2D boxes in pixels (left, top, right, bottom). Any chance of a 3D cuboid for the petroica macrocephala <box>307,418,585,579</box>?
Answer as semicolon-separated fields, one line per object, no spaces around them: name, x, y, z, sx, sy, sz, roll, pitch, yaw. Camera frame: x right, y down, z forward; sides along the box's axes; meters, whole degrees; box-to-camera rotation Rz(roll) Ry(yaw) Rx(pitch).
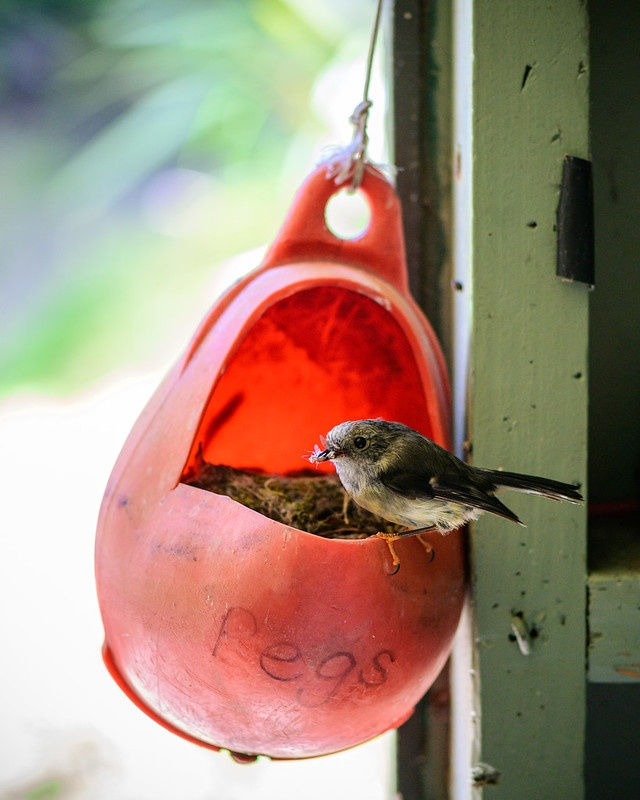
petroica macrocephala;0.160;0.114;1.096;0.336;0.156;0.111;4;-8;2
